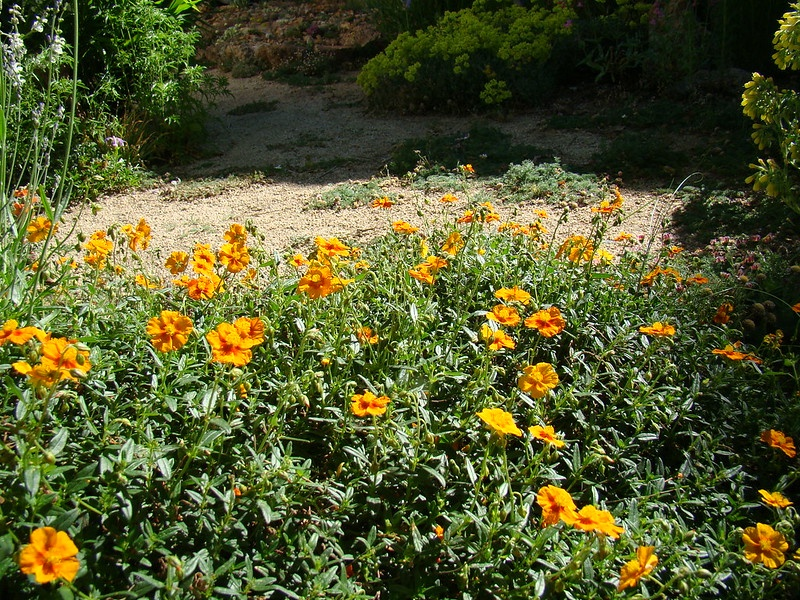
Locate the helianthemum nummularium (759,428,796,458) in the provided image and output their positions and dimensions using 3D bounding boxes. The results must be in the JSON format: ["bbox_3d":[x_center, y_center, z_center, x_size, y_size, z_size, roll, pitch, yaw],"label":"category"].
[{"bbox_3d":[1.566,0.578,3.127,0.115,0.059,0.126,20,23,-4],"label":"helianthemum nummularium"}]

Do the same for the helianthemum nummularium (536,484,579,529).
[{"bbox_3d":[0.565,0.749,2.717,0.148,0.173,0.066,13,26,38],"label":"helianthemum nummularium"}]

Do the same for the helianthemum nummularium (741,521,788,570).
[{"bbox_3d":[1.341,0.920,2.806,0.148,0.196,0.116,8,23,28],"label":"helianthemum nummularium"}]

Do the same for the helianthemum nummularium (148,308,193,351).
[{"bbox_3d":[-0.859,0.119,2.856,0.151,0.152,0.059,-35,-12,-8],"label":"helianthemum nummularium"}]

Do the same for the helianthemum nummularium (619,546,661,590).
[{"bbox_3d":[0.847,0.950,2.683,0.144,0.058,0.159,-29,32,21],"label":"helianthemum nummularium"}]
